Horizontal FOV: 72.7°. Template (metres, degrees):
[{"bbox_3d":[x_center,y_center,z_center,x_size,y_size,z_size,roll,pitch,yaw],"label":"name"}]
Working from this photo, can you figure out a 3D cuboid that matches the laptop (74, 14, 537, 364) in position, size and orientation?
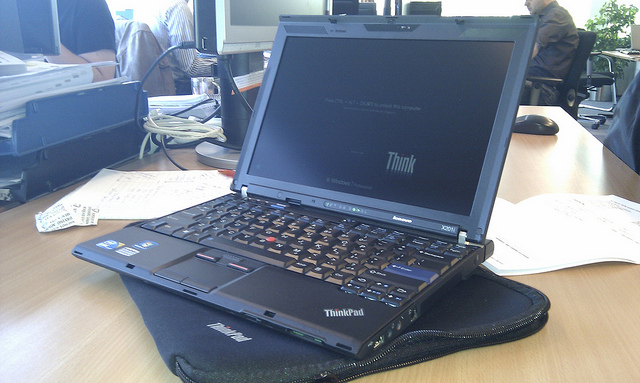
[{"bbox_3d":[-0.028,-0.075,0.680,0.547,0.336,0.495,14,28,36],"label":"laptop"}]

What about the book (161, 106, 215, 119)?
[{"bbox_3d":[-0.401,-0.236,1.295,0.083,0.020,0.079,-3,16,0],"label":"book"}]

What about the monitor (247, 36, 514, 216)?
[{"bbox_3d":[0.081,-0.128,0.764,0.498,0.314,0.017,12,4,33],"label":"monitor"}]
